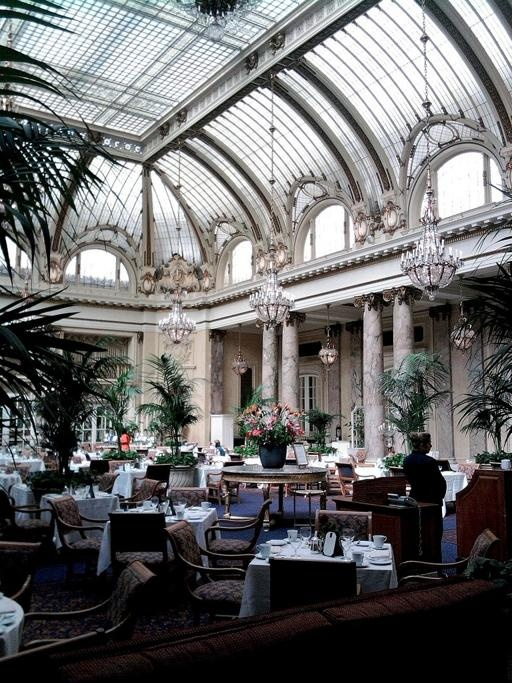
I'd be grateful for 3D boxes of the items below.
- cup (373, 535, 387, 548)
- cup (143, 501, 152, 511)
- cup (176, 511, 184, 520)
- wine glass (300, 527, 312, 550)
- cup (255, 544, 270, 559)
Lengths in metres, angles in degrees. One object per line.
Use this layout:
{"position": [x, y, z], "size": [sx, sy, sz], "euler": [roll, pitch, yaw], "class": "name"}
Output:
{"position": [0.873, 1.391, 4.103], "size": [0.082, 0.091, 0.124], "euler": [-2, -14, 2], "class": "cup"}
{"position": [-1.011, 1.538, 5.492], "size": [0.081, 0.092, 0.086], "euler": [1, -10, 0], "class": "cup"}
{"position": [-0.675, 1.560, 5.280], "size": [0.048, 0.056, 0.049], "euler": [1, -21, 0], "class": "cup"}
{"position": [0.350, 1.388, 4.166], "size": [0.110, 0.171, 0.104], "euler": [1, -8, -2], "class": "wine glass"}
{"position": [0.046, 1.334, 3.754], "size": [0.081, 0.094, 0.126], "euler": [-1, -9, -2], "class": "cup"}
